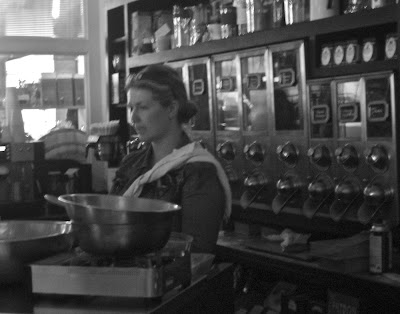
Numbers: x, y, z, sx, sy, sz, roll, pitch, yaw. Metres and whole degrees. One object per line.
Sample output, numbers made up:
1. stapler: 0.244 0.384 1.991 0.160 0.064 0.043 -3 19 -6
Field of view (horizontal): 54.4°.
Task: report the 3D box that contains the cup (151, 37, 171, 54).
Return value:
1. cup: -0.340 -0.911 3.176 0.212 0.136 0.108 8 11 36
